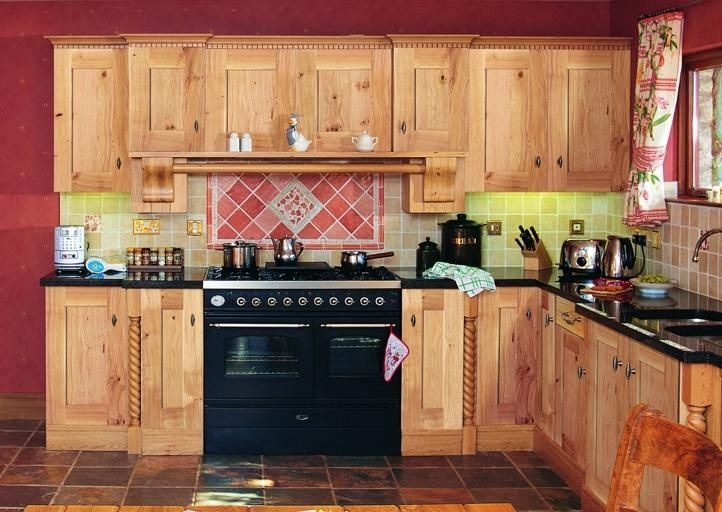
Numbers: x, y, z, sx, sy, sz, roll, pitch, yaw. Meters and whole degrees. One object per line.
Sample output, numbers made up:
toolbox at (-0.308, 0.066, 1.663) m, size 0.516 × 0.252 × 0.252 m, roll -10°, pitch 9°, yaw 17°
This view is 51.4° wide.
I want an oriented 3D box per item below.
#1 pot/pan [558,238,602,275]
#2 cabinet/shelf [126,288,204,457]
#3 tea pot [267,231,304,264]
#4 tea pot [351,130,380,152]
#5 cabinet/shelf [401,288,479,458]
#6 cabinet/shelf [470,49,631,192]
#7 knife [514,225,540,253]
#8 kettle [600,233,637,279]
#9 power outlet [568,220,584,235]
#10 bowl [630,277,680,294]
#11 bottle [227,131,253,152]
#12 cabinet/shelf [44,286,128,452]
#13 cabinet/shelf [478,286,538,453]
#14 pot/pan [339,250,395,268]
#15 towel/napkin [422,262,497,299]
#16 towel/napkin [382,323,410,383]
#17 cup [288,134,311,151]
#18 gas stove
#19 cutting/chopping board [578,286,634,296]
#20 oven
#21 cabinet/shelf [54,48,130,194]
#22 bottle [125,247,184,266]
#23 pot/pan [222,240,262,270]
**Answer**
pot/pan at (1.652, 0.001, 5.657) m, size 0.321 × 0.248 × 0.327 m, roll 3°, pitch 8°, yaw 35°
cabinet/shelf at (-1.390, 0.826, 5.352) m, size 0.537 × 1.176 × 0.200 m, roll 1°, pitch 12°, yaw 0°
tea pot at (-0.574, -0.050, 5.827) m, size 0.267 × 0.221 × 0.333 m, roll -1°, pitch 12°, yaw -5°
tea pot at (0.035, -0.856, 5.604) m, size 0.197 × 0.148 × 0.181 m, roll 1°, pitch 12°, yaw 0°
cabinet/shelf at (0.560, 0.839, 5.407) m, size 0.539 × 1.196 × 0.212 m, roll 1°, pitch 12°, yaw 0°
cabinet/shelf at (1.398, -1.069, 5.685) m, size 1.138 × 0.949 × 0.428 m, roll 0°, pitch 2°, yaw -3°
knife at (1.329, -0.139, 5.972) m, size 0.196 × 0.219 × 0.296 m, roll 3°, pitch 13°, yaw 11°
kettle at (1.789, 0.012, 5.322) m, size 0.295 × 0.285 × 0.225 m, roll 4°, pitch 7°, yaw 37°
power outlet at (1.747, -0.237, 6.081) m, size 0.127 × 0.121 × 0.013 m, roll 0°, pitch 2°, yaw -1°
bowl at (1.909, 0.201, 4.900) m, size 0.256 × 0.109 × 0.277 m, roll 1°, pitch 12°, yaw 0°
bottle at (-0.889, -0.841, 5.543) m, size 0.177 × 0.131 × 0.166 m, roll 1°, pitch 12°, yaw 0°
cabinet/shelf at (-1.868, 0.764, 5.739) m, size 0.945 × 1.251 × 0.935 m, roll -1°, pitch 1°, yaw -18°
cabinet/shelf at (1.060, 0.824, 5.482) m, size 0.447 × 1.185 × 0.235 m, roll 2°, pitch 12°, yaw 6°
pot/pan at (0.033, 0.028, 5.749) m, size 0.314 × 0.110 × 0.167 m, roll 2°, pitch 0°, yaw 8°
towel/napkin at (0.716, 0.176, 5.512) m, size 0.530 × 0.183 × 0.358 m, roll 1°, pitch 12°, yaw 4°
towel/napkin at (0.254, 0.708, 5.367) m, size 0.189 × 0.412 × 0.089 m, roll -3°, pitch 13°, yaw -14°
cup at (-0.426, -0.843, 5.576) m, size 0.088 × 0.130 × 0.191 m, roll 13°, pitch 17°, yaw 43°
gas stove at (-0.422, 0.251, 5.458) m, size 1.398 × 0.234 × 0.342 m, roll 0°, pitch 12°, yaw -2°
cutting/chopping board at (1.618, 0.224, 4.871) m, size 0.392 × 0.033 × 0.179 m, roll -3°, pitch 13°, yaw -16°
oven at (-0.380, 0.952, 5.734) m, size 1.431 × 0.970 × 0.745 m, roll -2°, pitch -8°, yaw 8°
cabinet/shelf at (-2.020, -1.024, 5.606) m, size 0.545 × 1.060 × 0.226 m, roll -1°, pitch 12°, yaw -7°
bottle at (-1.587, 0.009, 5.784) m, size 0.408 × 0.135 × 0.113 m, roll -2°, pitch 13°, yaw -10°
pot/pan at (-0.911, -0.003, 5.731) m, size 0.311 × 0.145 × 0.188 m, roll 0°, pitch 0°, yaw -5°
